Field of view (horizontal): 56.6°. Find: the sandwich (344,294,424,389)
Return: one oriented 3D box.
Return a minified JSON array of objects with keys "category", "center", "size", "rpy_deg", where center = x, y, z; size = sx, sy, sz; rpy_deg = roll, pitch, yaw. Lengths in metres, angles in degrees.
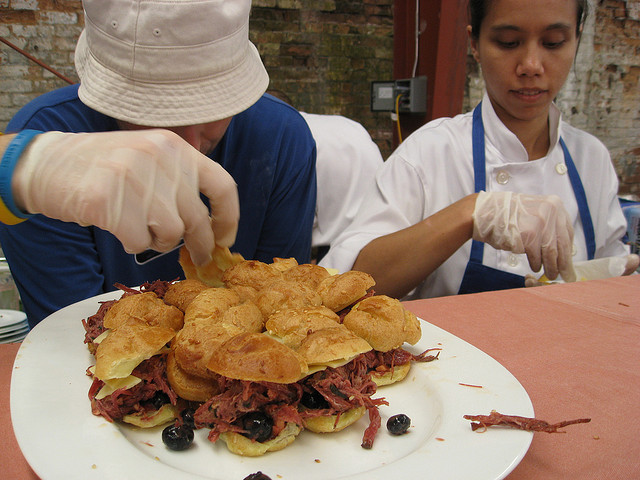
[{"category":"sandwich","center":[0.125,0.224,1.484],"size":[0.227,0.171,0.249],"rpy_deg":[18,13,1]}]

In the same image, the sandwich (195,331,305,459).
[{"category":"sandwich","center":[-0.152,0.322,1.283],"size":[0.244,0.227,0.250],"rpy_deg":[1,8,-1]}]

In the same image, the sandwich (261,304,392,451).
[{"category":"sandwich","center":[0.043,0.282,1.354],"size":[0.295,0.175,0.307],"rpy_deg":[13,28,26]}]

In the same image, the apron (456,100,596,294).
[{"category":"apron","center":[0.836,-0.122,2.315],"size":[0.542,0.634,0.533],"rpy_deg":[8,28,12]}]

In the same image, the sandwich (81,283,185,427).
[{"category":"sandwich","center":[-0.436,0.257,1.350],"size":[0.205,0.104,0.298],"rpy_deg":[12,49,-38]}]
